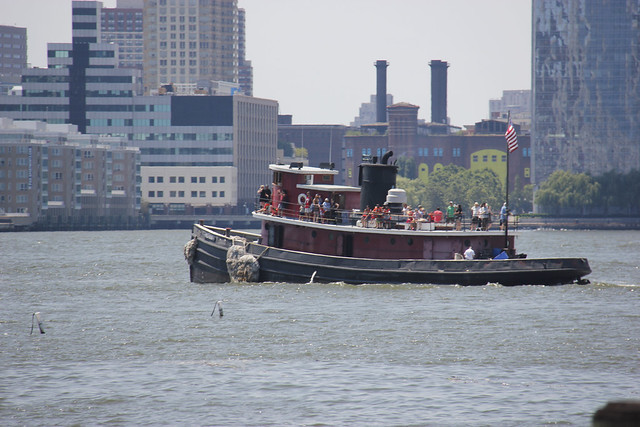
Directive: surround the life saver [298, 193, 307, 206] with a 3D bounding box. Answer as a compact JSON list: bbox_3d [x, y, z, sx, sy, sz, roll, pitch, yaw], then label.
[{"bbox_3d":[-2.445,-1.616,255.362,1.849,2.113,0.234,2,-6,0],"label":"life saver"}]
